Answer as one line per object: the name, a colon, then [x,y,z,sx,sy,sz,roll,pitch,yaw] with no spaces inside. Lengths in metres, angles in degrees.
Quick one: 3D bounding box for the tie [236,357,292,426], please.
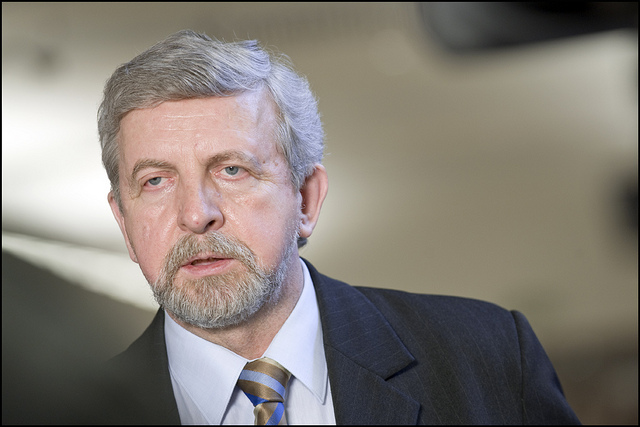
tie: [-0.253,0.828,3.152,0.262,0.268,0.167,-7,11,-4]
